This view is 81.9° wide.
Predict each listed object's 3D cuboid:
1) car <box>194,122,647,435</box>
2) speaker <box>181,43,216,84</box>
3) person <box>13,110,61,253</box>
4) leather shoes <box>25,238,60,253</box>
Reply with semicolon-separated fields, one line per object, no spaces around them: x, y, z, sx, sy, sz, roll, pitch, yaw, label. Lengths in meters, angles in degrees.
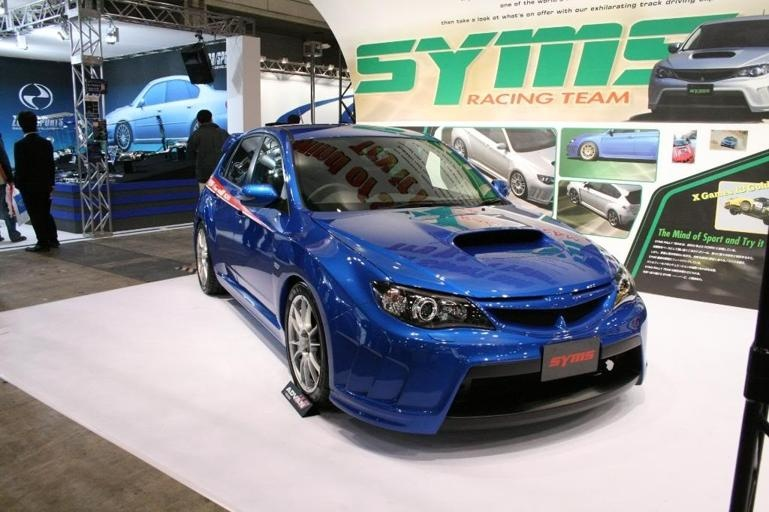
0.087;-0.027;2.954;1.560;1.648;2.693;-13;22;-39;car
-4.647;-4.817;11.017;0.918;0.934;0.396;13;21;35;speaker
-5.230;-1.120;6.664;0.554;2.013;0.824;-11;21;-32;person
-5.120;-0.163;6.742;0.511;0.195;0.173;0;21;-13;leather shoes
